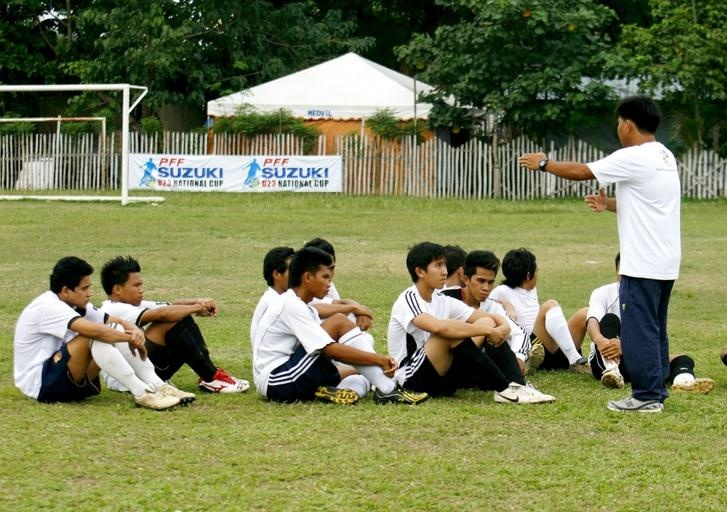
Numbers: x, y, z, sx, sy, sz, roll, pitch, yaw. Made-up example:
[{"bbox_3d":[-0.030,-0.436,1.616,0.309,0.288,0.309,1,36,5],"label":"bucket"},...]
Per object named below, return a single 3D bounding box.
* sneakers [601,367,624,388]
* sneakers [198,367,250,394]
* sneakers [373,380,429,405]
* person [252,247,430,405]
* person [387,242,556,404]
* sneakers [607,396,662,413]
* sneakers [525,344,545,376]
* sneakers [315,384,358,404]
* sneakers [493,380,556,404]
[{"bbox_3d":[2.924,1.441,15.008,0.138,0.165,0.355,-12,-22,34],"label":"sneakers"},{"bbox_3d":[-1.620,1.487,15.021,0.671,0.266,0.234,1,3,0],"label":"sneakers"},{"bbox_3d":[0.425,1.609,14.630,0.638,0.232,0.223,0,-5,0],"label":"sneakers"},{"bbox_3d":[-0.456,0.802,14.680,1.628,1.798,0.469,-1,1,-8],"label":"person"},{"bbox_3d":[1.528,0.724,15.055,0.986,1.455,1.809,1,6,-34],"label":"person"},{"bbox_3d":[3.077,1.727,14.484,0.595,0.236,0.211,3,-9,2],"label":"sneakers"},{"bbox_3d":[2.085,1.248,15.419,0.173,0.434,0.199,6,37,-8],"label":"sneakers"},{"bbox_3d":[-0.296,1.586,14.660,0.500,0.171,0.205,2,1,8],"label":"sneakers"},{"bbox_3d":[1.847,1.564,14.616,0.523,0.174,0.292,-1,-2,4],"label":"sneakers"}]
